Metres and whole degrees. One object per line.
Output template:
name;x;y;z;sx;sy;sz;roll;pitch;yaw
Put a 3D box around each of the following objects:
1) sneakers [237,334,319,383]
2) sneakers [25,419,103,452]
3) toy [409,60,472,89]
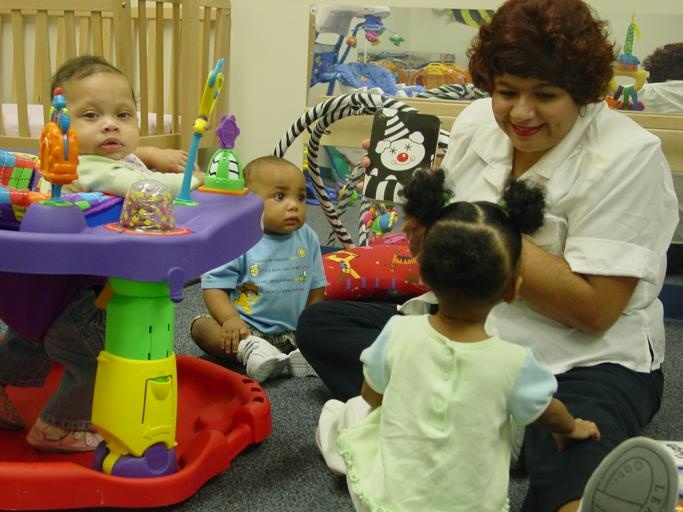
sneakers;-0.170;0.261;1.533;0.142;0.057;0.145;12;-8;35
sneakers;-0.540;0.359;1.184;0.156;0.067;0.072;2;12;-14
toy;0.488;-0.897;3.030;0.376;0.163;0.113;2;11;25
